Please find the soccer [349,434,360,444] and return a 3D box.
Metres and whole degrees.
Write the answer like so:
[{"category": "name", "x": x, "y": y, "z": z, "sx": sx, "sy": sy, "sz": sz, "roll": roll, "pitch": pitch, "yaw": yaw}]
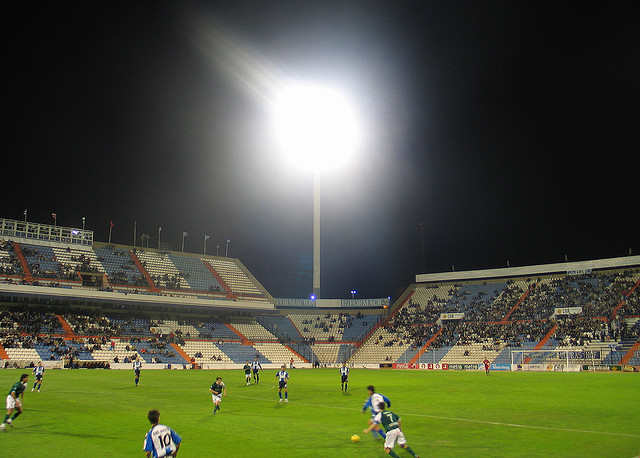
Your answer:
[{"category": "soccer", "x": 2.197, "y": 12.731, "z": 39.179, "sx": 0.451, "sy": 0.389, "sz": 0.486, "roll": -1, "pitch": -7, "yaw": -2}]
